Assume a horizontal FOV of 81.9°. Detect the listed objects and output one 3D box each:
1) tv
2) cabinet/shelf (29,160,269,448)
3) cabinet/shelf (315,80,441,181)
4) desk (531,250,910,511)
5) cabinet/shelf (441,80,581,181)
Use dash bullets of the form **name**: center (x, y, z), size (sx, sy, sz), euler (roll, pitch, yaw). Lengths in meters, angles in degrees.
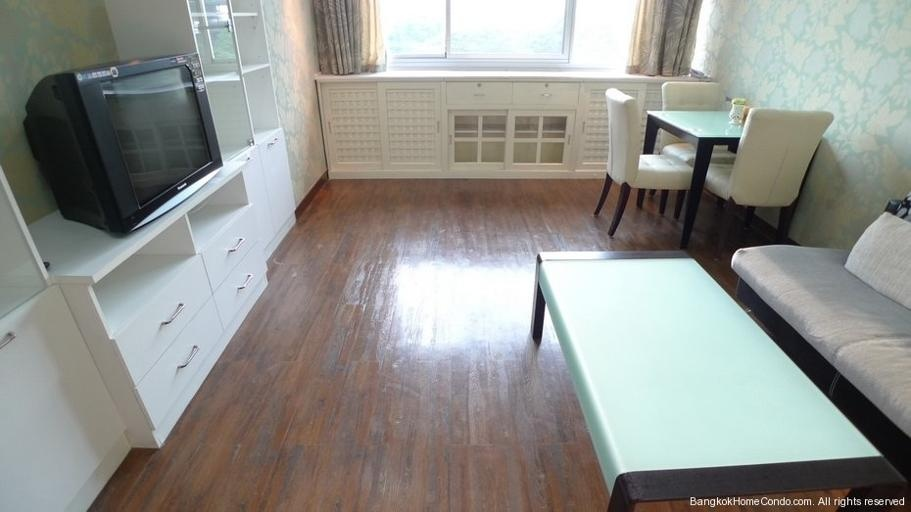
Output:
- **tv**: center (-2.033, -0.739, 3.205), size (0.646, 0.865, 1.054), euler (3, 29, 6)
- **cabinet/shelf**: center (-1.891, 0.160, 3.393), size (0.674, 1.105, 1.672), euler (4, 29, 1)
- **cabinet/shelf**: center (-0.799, -1.317, 5.299), size (1.035, 0.801, 0.374), euler (-1, 39, -1)
- **desk**: center (1.227, 0.660, 2.653), size (1.156, 0.705, 1.560), euler (-5, 38, -3)
- **cabinet/shelf**: center (0.598, -1.318, 5.334), size (1.043, 0.665, 0.312), euler (0, 39, 0)
